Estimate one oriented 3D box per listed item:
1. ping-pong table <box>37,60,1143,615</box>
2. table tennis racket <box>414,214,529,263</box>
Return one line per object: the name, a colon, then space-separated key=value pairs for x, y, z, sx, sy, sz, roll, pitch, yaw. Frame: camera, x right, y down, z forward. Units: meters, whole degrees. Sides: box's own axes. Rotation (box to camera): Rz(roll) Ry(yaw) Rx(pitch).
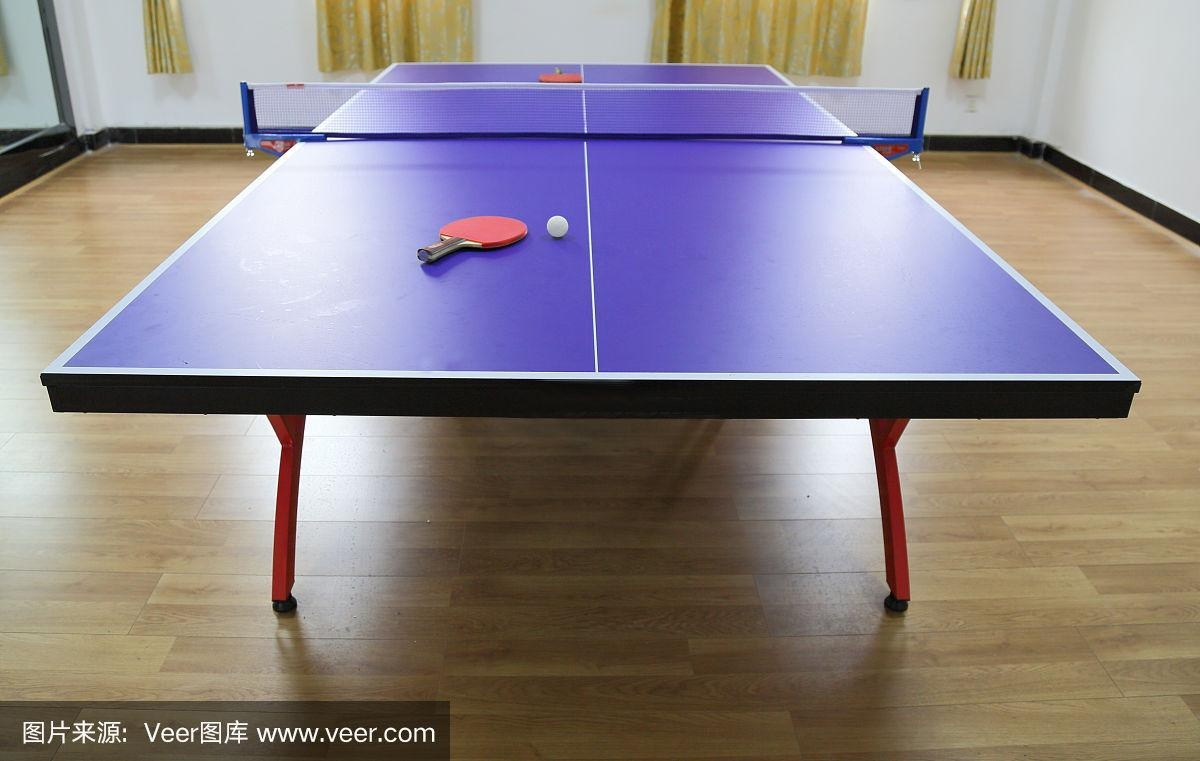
ping-pong table: x=-0.003 y=-0.481 z=3.364 sx=2.899 sy=0.644 sz=1.937 roll=0 pitch=24 yaw=-1
table tennis racket: x=-0.423 y=-0.465 z=3.066 sx=0.190 sy=0.028 sz=0.294 roll=20 pitch=29 yaw=35
